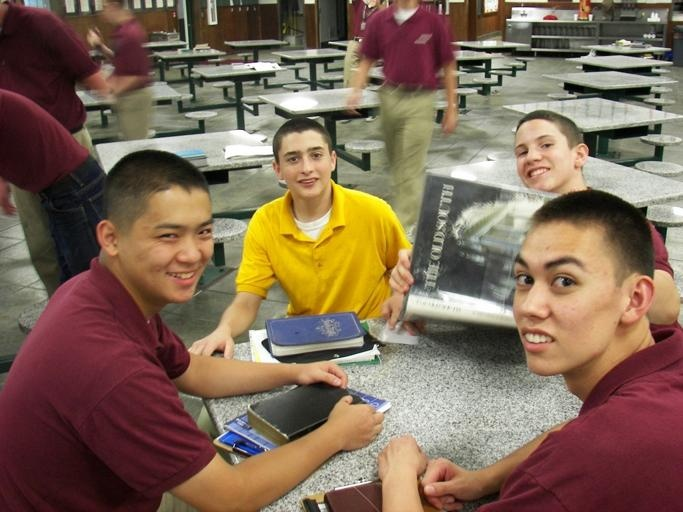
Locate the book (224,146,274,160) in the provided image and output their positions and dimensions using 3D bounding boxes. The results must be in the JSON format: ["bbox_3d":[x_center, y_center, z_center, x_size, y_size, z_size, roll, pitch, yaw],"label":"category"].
[{"bbox_3d":[-0.697,-0.788,4.056,0.237,0.053,0.212,-11,22,-33],"label":"book"}]

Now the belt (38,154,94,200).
[{"bbox_3d":[-1.406,-0.405,2.737,0.158,0.214,0.116,-35,49,20],"label":"belt"}]

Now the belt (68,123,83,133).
[{"bbox_3d":[-1.674,-0.810,3.406,0.068,0.045,0.063,2,22,-3],"label":"belt"}]
